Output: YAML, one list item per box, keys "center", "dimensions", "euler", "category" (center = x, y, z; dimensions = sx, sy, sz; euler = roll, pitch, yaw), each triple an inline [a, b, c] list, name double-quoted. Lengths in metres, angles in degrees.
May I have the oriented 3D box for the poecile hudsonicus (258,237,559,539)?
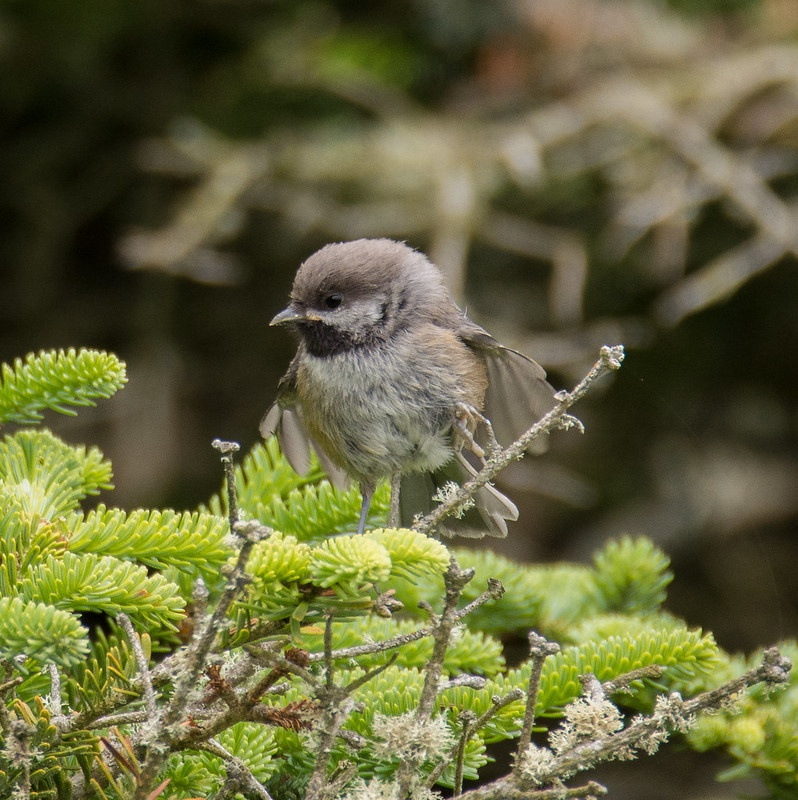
- center: [0.000, 0.005, 3.597]
  dimensions: [0.712, 0.944, 0.538]
  euler: [1, -50, -5]
  category: "poecile hudsonicus"
